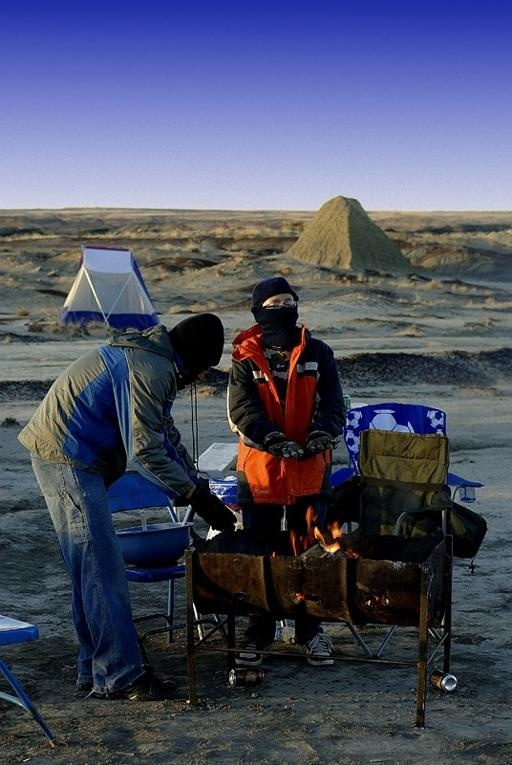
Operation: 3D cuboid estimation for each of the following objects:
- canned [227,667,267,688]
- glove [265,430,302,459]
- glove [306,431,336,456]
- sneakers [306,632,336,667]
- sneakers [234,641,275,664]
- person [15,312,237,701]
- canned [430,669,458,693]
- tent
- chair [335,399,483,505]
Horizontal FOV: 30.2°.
[{"bbox_3d":[-0.030,1.172,3.767,0.130,0.067,0.067,-2,-38,-6],"label":"canned"},{"bbox_3d":[0.106,0.257,3.933,0.157,0.103,0.097,-1,3,3],"label":"glove"},{"bbox_3d":[0.264,0.251,4.007,0.119,0.058,0.143,-2,-1,4],"label":"glove"},{"bbox_3d":[0.263,1.114,3.919,0.097,0.093,0.253,-1,-5,-2],"label":"sneakers"},{"bbox_3d":[-0.016,1.127,3.965,0.160,0.048,0.308,0,-10,1],"label":"sneakers"},{"bbox_3d":[-0.515,0.470,3.808,0.830,1.491,0.501,-2,4,-14],"label":"person"},{"bbox_3d":[0.721,1.146,3.650,0.101,0.081,0.117,-1,2,10],"label":"canned"},{"bbox_3d":[-4.610,-2.655,27.135,3.285,2.084,2.574,-1,11,-31],"label":"tent"},{"bbox_3d":[0.964,0.482,6.478,0.892,0.679,1.213,-1,2,5],"label":"chair"}]
